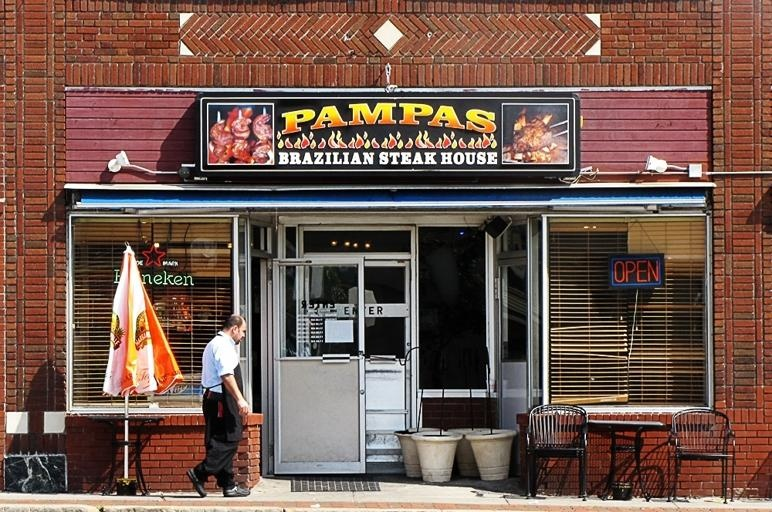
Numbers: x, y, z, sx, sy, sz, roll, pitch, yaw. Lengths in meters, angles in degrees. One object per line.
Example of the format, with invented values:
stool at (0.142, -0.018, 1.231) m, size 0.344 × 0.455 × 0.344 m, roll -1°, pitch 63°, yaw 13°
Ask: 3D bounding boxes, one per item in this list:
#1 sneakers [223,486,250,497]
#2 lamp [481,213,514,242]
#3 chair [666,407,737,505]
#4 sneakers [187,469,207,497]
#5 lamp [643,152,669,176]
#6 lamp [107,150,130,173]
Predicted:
sneakers at (-2.133, 3.405, 22.865) m, size 0.410 × 0.159 × 0.143 m, roll 1°, pitch -1°, yaw -13°
lamp at (1.709, -0.448, 24.588) m, size 0.283 × 0.360 × 0.690 m, roll 0°, pitch -2°, yaw -14°
chair at (4.569, 2.909, 23.111) m, size 0.937 × 1.355 × 0.735 m, roll -1°, pitch -2°, yaw 10°
sneakers at (-2.645, 3.221, 22.578) m, size 0.223 × 0.488 × 0.184 m, roll -19°, pitch 19°, yaw 2°
lamp at (3.985, -1.371, 23.503) m, size 0.340 × 0.274 × 0.144 m, roll -1°, pitch -2°, yaw 9°
lamp at (-3.931, -1.401, 23.387) m, size 0.348 × 0.320 × 0.138 m, roll -1°, pitch -2°, yaw 14°
